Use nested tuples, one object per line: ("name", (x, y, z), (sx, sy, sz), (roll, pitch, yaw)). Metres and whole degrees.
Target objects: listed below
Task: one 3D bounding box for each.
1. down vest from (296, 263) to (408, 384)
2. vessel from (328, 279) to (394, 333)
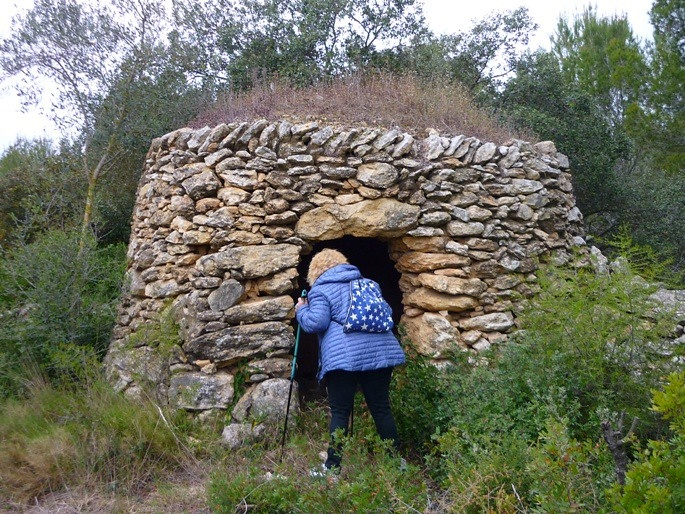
("down vest", (0.108, 0.649, 4.579), (0.945, 1.085, 0.718), (5, -21, -39))
("vessel", (0.231, 0.477, 4.303), (0.457, 0.535, 0.185), (5, -20, -14))
